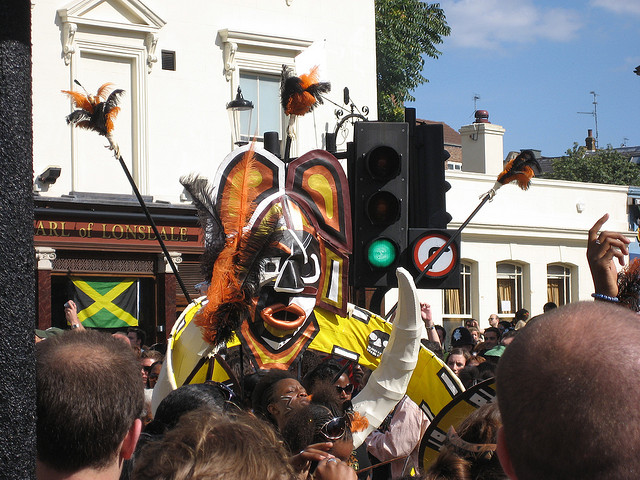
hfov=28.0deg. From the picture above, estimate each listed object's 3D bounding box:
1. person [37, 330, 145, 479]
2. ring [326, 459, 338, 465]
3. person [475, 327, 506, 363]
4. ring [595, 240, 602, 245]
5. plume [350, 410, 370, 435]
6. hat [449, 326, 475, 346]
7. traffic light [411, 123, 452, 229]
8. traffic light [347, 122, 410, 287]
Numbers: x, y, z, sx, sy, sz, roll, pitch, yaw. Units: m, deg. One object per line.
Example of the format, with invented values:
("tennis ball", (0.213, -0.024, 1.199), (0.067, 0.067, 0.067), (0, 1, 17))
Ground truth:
("person", (-2.010, 1.364, 10.198), (1.042, 1.463, 0.991), (3, -13, -15))
("ring", (0.090, 1.759, 10.196), (0.081, 0.024, 0.050), (3, 3, -7))
("person", (2.245, 1.375, 16.762), (0.473, 0.437, 0.883), (-2, -8, 17))
("ring", (2.317, 0.023, 10.712), (0.031, 0.040, 0.013), (3, -1, 16))
("plume", (0.344, 1.678, 11.750), (0.109, 0.202, 0.290), (5, 3, 25))
("hat", (1.857, 1.279, 16.861), (0.280, 0.216, 0.543), (4, 3, 5))
("traffic light", (1.239, -0.728, 14.584), (0.519, 1.185, 0.350), (4, 3, 5))
("traffic light", (0.675, -0.395, 14.300), (0.715, 1.827, 0.269), (4, 3, 2))
